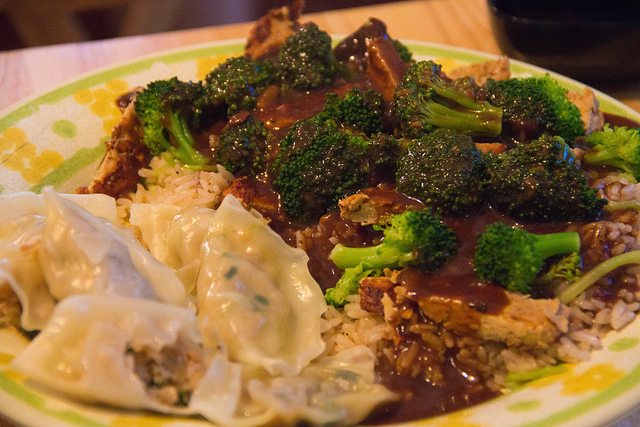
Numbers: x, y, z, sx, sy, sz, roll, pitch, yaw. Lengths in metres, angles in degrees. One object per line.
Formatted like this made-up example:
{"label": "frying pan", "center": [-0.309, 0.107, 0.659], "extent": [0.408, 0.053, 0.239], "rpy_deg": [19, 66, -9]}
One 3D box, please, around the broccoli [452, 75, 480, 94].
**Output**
{"label": "broccoli", "center": [1.267, -1.118, 4.998], "extent": [0.185, 0.066, 0.183], "rpy_deg": [-24, 31, -22]}

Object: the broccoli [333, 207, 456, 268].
{"label": "broccoli", "center": [0.548, 0.236, 4.409], "extent": [0.692, 0.432, 0.344], "rpy_deg": [-7, 78, 20]}

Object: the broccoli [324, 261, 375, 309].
{"label": "broccoli", "center": [0.204, 0.556, 4.549], "extent": [0.425, 0.167, 0.270], "rpy_deg": [-29, 14, -29]}
